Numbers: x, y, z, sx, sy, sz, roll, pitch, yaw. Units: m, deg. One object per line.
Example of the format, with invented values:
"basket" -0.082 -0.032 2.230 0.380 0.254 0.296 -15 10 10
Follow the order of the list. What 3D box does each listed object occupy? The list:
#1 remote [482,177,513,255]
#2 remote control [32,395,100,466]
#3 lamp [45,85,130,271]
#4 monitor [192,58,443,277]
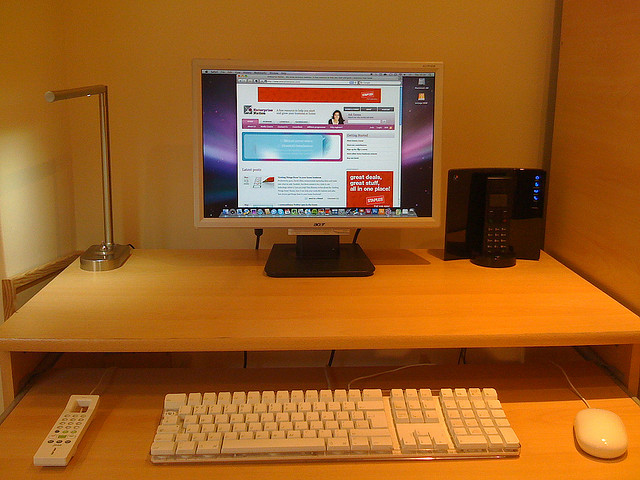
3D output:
"remote" 0.454 -0.066 1.388 0.096 0.082 0.183 1 -72 1
"remote control" -0.468 0.352 1.026 0.079 0.166 0.043 13 -65 -14
"lamp" -0.539 -0.156 1.344 0.210 0.159 0.424 -9 -65 -37
"monitor" -0.006 -0.194 1.329 0.706 0.262 0.470 0 -84 -2
